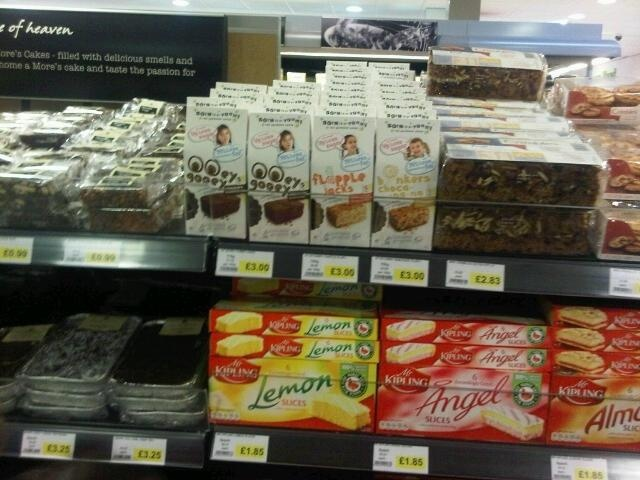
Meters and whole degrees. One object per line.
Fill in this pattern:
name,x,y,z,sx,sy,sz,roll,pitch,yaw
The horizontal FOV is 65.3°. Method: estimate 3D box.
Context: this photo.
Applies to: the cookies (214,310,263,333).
cookies,-0.252,0.246,1.556,0.126,0.028,0.079,-3,9,-24
